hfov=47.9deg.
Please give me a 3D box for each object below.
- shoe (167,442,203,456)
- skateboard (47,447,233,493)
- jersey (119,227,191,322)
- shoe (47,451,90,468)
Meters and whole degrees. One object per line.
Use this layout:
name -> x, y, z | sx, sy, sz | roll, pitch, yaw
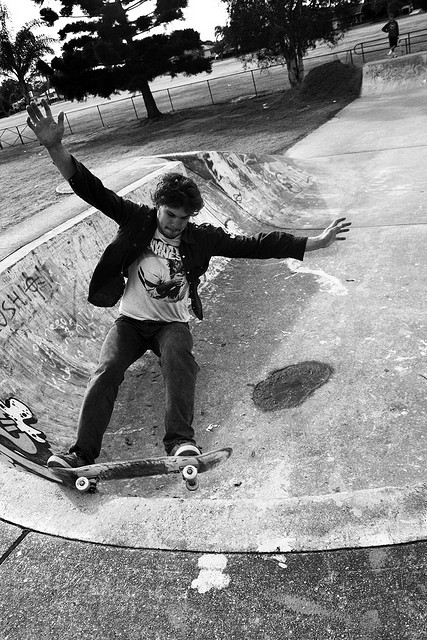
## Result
shoe -> -0.125, 0.538, 2.026 | 0.133, 0.058, 0.055 | 4, 8, -3
skateboard -> -0.320, 0.675, 2.130 | 0.591, 0.162, 0.105 | -8, 42, 6
jersey -> -0.297, -0.291, 2.742 | 0.446, 0.546, 0.292 | 1, 23, -19
shoe -> -0.616, 0.610, 2.077 | 0.065, 0.176, 0.076 | -19, 59, 41
